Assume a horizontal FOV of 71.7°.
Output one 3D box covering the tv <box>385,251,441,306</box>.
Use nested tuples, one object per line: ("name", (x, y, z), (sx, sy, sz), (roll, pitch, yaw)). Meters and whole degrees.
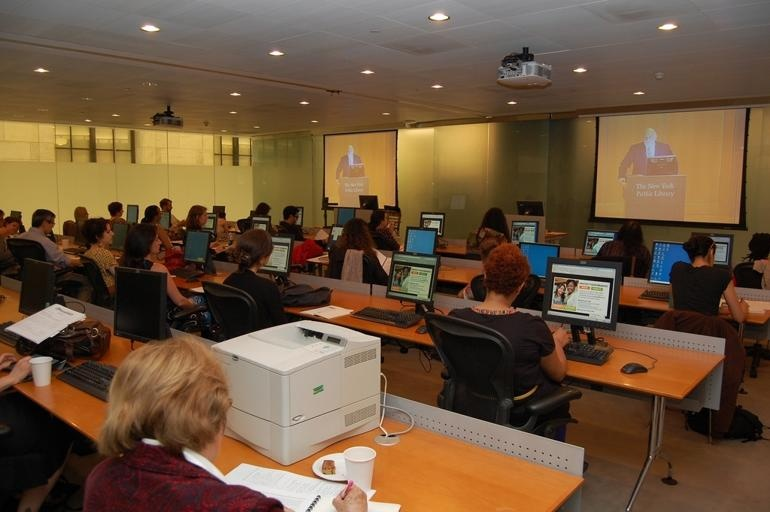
("tv", (0.257, 0.217, 4.952), (0.527, 0.436, 0.056), (9, -1, 34))

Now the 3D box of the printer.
("printer", (-0.453, 0.629, 2.931), (0.723, 0.541, 0.746), (7, 9, 44))

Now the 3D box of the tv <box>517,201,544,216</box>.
("tv", (2.614, -0.880, 9.603), (0.398, 0.217, 1.223), (2, 8, 12))

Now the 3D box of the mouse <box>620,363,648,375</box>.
("mouse", (1.719, 0.783, 3.706), (0.147, 0.041, 0.081), (-4, 9, -25))

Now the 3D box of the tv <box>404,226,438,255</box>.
("tv", (0.454, -0.194, 6.674), (0.496, 0.460, 0.055), (1, 1, 35))

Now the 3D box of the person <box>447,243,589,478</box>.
("person", (0.917, 0.803, 3.793), (1.015, 1.732, 0.916), (-11, 14, -41))

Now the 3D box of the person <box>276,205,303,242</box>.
("person", (-1.711, -0.488, 9.511), (0.411, 0.768, 0.485), (6, 10, -37))

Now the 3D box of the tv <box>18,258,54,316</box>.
("tv", (-2.722, 0.254, 4.177), (0.541, 0.514, 0.061), (0, 2, 36))

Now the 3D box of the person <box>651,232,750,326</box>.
("person", (2.894, 0.348, 4.825), (0.676, 1.050, 0.664), (-8, 12, -38))

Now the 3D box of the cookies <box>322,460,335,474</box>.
("cookies", (-0.273, 1.033, 2.596), (0.048, 0.043, 0.049), (-5, -5, 32))

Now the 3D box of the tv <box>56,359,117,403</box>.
("tv", (-1.842, 0.781, 3.284), (0.403, 0.070, 0.283), (15, 12, 26))

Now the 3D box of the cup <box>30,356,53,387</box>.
("cup", (-2.146, 0.724, 3.342), (0.181, 0.179, 0.174), (0, -2, 0))

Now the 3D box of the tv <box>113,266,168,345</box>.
("tv", (-1.707, 0.348, 3.737), (0.617, 0.506, 0.100), (3, 6, 29))

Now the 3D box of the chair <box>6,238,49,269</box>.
("chair", (-4.251, -0.056, 6.374), (0.317, 0.431, 0.328), (7, 18, 11))

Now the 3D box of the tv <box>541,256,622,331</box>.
("tv", (1.502, 0.303, 4.086), (0.631, 0.566, 0.083), (3, -3, 32))
